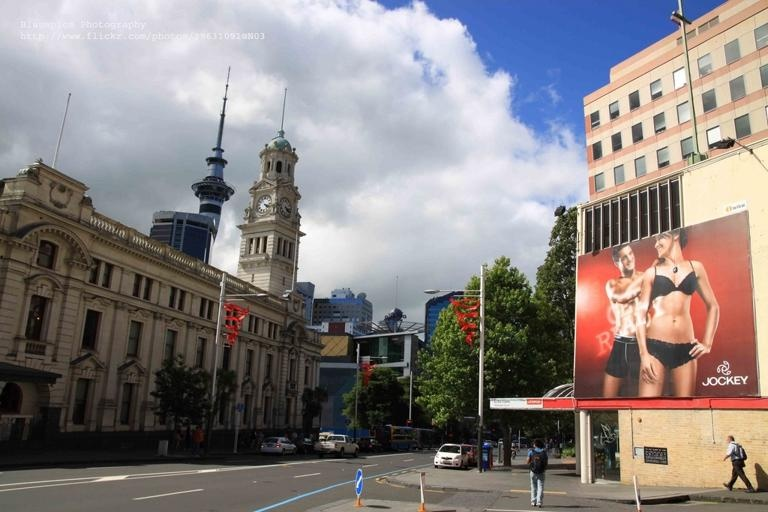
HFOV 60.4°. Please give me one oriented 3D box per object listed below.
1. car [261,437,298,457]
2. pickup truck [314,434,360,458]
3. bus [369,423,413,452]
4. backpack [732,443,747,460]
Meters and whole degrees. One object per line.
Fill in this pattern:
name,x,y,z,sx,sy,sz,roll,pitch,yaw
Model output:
car,-8.579,15.517,53.890,1.430,1.421,2.981,-7,-20,21
pickup truck,-3.941,16.756,57.886,2.030,1.386,4.105,-3,-12,21
bus,1.046,22.636,82.374,2.426,2.628,7.187,-6,-13,37
backpack,19.186,10.570,35.538,0.799,0.892,0.309,5,-20,-14
